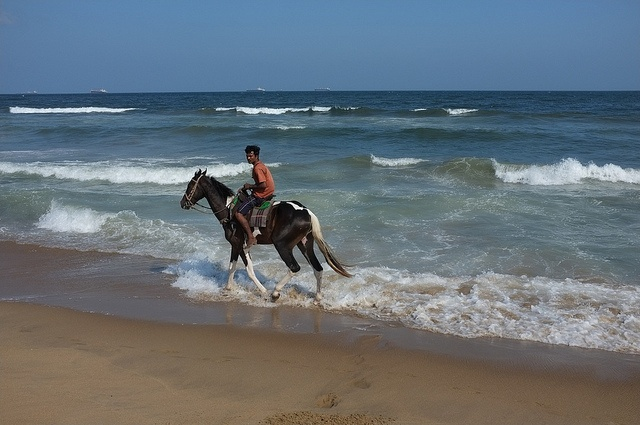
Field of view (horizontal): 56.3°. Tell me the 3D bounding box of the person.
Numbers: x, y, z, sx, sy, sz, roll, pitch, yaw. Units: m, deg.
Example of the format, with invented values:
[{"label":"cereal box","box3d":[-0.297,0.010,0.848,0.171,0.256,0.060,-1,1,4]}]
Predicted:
[{"label":"person","box3d":[-1.650,-0.389,14.959,0.749,2.545,0.778,-5,4,-44]}]
